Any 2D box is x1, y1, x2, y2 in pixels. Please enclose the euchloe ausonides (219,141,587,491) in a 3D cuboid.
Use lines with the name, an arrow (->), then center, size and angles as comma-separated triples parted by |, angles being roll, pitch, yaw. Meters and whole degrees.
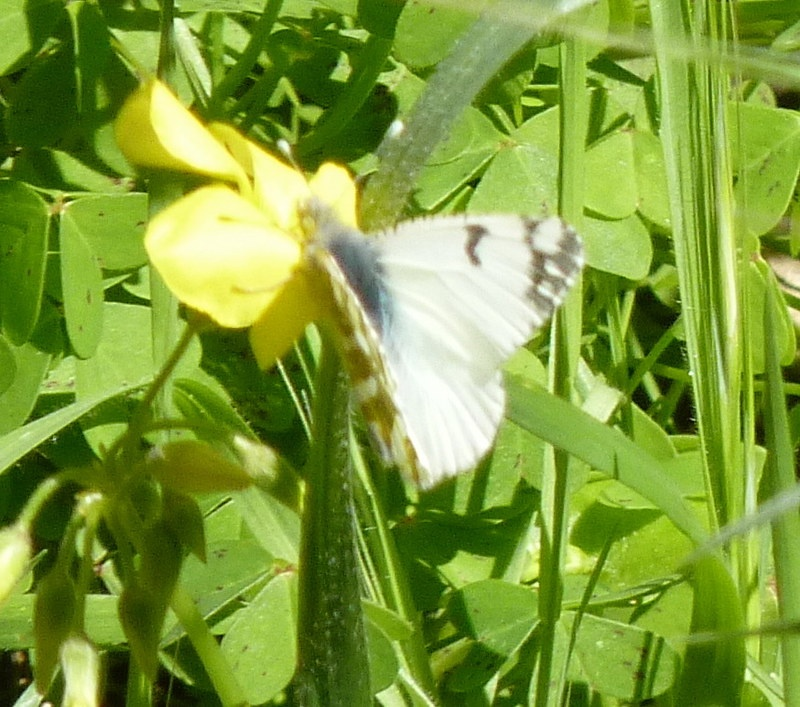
euchloe ausonides -> -0.008, -0.032, 0.882 | 0.229, 0.243, 0.210 | -10, 31, -16

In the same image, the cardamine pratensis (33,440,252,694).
cardamine pratensis -> -0.180, 0.189, 0.878 | 0.103, 0.190, 0.166 | 8, 30, 5
